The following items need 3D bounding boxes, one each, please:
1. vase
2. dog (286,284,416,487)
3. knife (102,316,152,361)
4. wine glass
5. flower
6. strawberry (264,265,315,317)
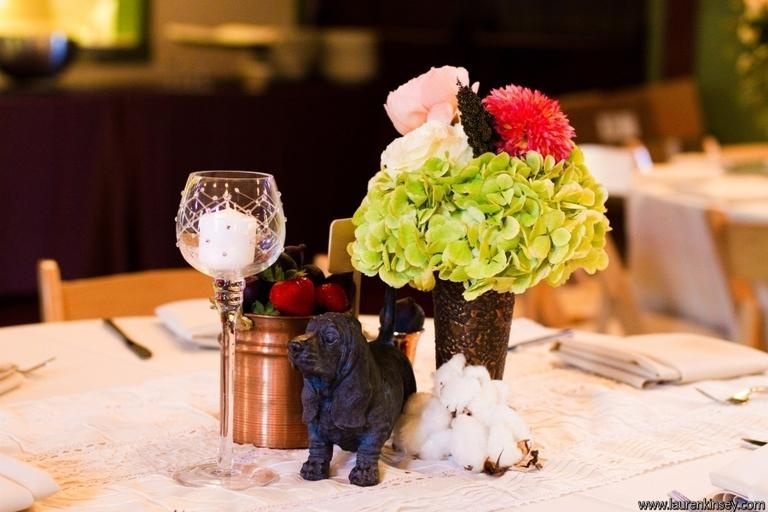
[{"bbox_3d":[0.129,0.115,1.217,0.160,0.216,0.144,2,-2,-7],"label":"vase"},{"bbox_3d":[-0.040,0.200,1.042,0.223,0.242,0.095,-1,5,-45],"label":"dog"},{"bbox_3d":[-0.531,0.173,1.498,0.051,0.032,0.215,-34,34,-17],"label":"knife"},{"bbox_3d":[-0.219,0.104,1.026,0.148,0.437,0.082,1,4,-9],"label":"wine glass"},{"bbox_3d":[0.158,-0.159,1.146,0.333,0.246,0.350,-16,36,-38],"label":"flower"},{"bbox_3d":[-0.144,0.054,1.081,0.059,0.062,0.059,-7,4,-36],"label":"strawberry"}]
